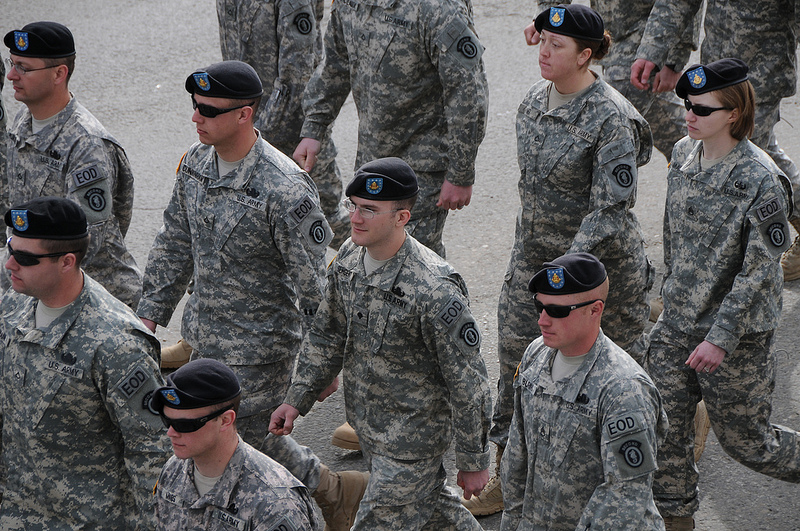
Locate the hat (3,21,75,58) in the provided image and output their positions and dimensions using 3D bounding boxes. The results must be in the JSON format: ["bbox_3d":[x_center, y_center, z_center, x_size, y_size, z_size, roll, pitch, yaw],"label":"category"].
[{"bbox_3d":[-2.685,-1.646,9.481,0.433,0.172,0.322,-3,18,-35],"label":"hat"}]

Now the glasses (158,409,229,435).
[{"bbox_3d":[-1.148,0.880,7.159,0.209,0.050,0.180,-12,6,-36],"label":"glasses"}]

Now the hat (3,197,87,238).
[{"bbox_3d":[-2.186,-0.269,7.868,0.407,0.133,0.274,4,20,-23],"label":"hat"}]

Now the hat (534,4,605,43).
[{"bbox_3d":[1.200,-1.695,8.984,0.404,0.120,0.285,13,31,8],"label":"hat"}]

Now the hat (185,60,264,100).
[{"bbox_3d":[-1.164,-1.216,8.567,0.404,0.139,0.307,-5,19,-38],"label":"hat"}]

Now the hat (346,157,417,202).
[{"bbox_3d":[-0.114,-0.527,8.037,0.450,0.243,0.249,1,14,-13],"label":"hat"}]

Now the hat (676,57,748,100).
[{"bbox_3d":[2.141,-1.275,8.728,0.406,0.138,0.285,-16,14,-22],"label":"hat"}]

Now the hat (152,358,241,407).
[{"bbox_3d":[-1.142,0.654,7.184,0.394,0.168,0.286,-4,10,-34],"label":"hat"}]
